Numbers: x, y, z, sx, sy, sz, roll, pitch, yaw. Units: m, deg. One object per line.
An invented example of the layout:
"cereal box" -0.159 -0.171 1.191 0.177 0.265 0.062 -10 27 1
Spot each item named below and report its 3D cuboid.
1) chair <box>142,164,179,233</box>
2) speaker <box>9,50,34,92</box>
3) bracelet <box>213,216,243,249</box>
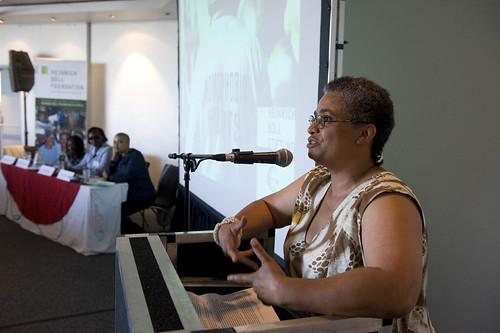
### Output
"chair" -1.395 0.500 5.961 0.628 1.029 0.591 -5 18 -35
"speaker" -3.805 -1.589 6.542 0.346 0.662 0.184 -6 14 -32
"bracelet" -0.131 0.384 2.297 0.146 0.179 0.068 -4 -8 1
